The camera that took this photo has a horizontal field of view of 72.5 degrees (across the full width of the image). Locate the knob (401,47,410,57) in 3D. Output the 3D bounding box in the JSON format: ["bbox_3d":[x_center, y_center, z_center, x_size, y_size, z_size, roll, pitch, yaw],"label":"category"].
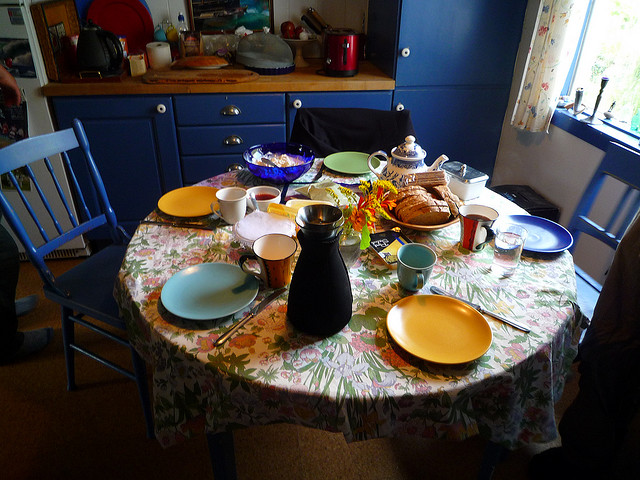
[{"bbox_3d":[0.538,-1.179,2.749,0.057,0.051,0.021,-16,36,-23],"label":"knob"}]

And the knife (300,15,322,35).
[{"bbox_3d":[-0.059,-1.509,3.062,0.196,0.055,0.047,47,48,-4],"label":"knife"}]

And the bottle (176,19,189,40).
[{"bbox_3d":[-0.952,-1.462,3.016,0.080,0.121,0.078,1,33,0],"label":"bottle"}]

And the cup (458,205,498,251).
[{"bbox_3d":[0.545,-0.025,1.503,0.110,0.128,0.174,-4,28,-6],"label":"cup"}]

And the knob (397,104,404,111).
[{"bbox_3d":[0.531,-0.873,2.876,0.043,0.031,0.065,7,35,8],"label":"knob"}]

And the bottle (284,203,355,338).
[{"bbox_3d":[0.000,0.086,1.251,0.193,0.310,0.214,4,34,4],"label":"bottle"}]

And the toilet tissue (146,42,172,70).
[{"bbox_3d":[-1.064,-1.217,2.906,0.147,0.148,0.197,-12,37,-18],"label":"toilet tissue"}]

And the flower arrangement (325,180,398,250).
[{"bbox_3d":[0.152,-0.106,1.509,0.191,0.227,0.221,-13,33,-30],"label":"flower arrangement"}]

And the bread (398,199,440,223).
[{"bbox_3d":[0.339,-0.111,1.583,0.096,0.092,0.025,35,28,-25],"label":"bread"}]

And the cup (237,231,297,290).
[{"bbox_3d":[-0.166,0.083,1.377,0.182,0.137,0.133,-14,36,-26],"label":"cup"}]

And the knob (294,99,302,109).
[{"bbox_3d":[-0.141,-0.877,2.810,0.043,0.052,0.035,11,35,14],"label":"knob"}]

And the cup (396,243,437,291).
[{"bbox_3d":[0.301,0.077,1.380,0.112,0.104,0.148,5,43,5],"label":"cup"}]

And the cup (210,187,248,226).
[{"bbox_3d":[-0.340,-0.118,1.641,0.111,0.115,0.139,19,31,32],"label":"cup"}]

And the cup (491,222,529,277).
[{"bbox_3d":[0.626,0.031,1.458,0.097,0.168,0.101,4,10,-1],"label":"cup"}]

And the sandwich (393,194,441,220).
[{"bbox_3d":[0.335,-0.138,1.576,0.105,0.030,0.108,-9,32,0],"label":"sandwich"}]

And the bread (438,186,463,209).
[{"bbox_3d":[0.485,-0.159,1.629,0.025,0.024,0.107,-4,60,-56],"label":"bread"}]
